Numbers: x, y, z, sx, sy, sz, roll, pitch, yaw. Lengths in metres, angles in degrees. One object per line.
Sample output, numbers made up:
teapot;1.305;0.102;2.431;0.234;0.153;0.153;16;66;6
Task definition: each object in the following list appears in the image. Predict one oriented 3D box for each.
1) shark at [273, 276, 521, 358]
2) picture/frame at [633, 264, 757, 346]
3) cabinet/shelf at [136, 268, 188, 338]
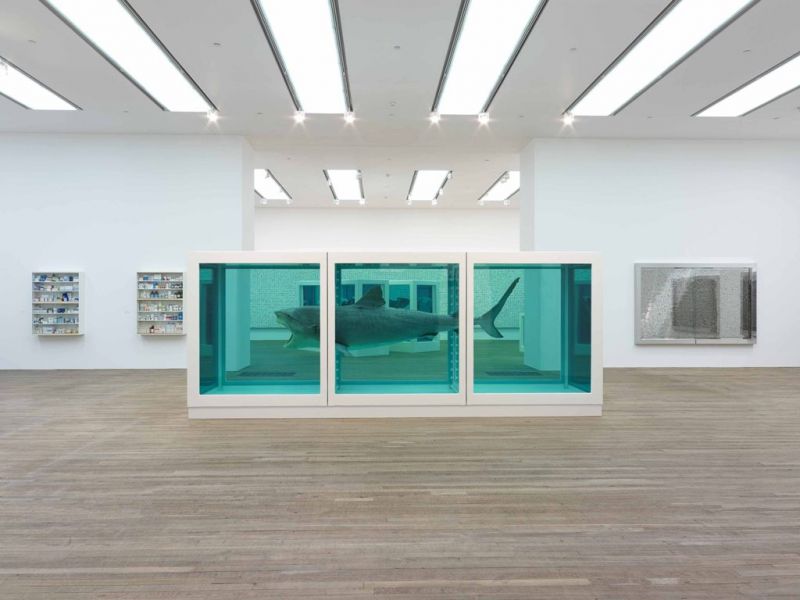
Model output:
shark;0.289;0.249;10.475;5.234;1.223;1.183;0;3;-4
picture/frame;6.565;0.092;14.386;2.696;1.553;0.143;0;0;-2
cabinet/shelf;-5.311;0.080;14.176;1.035;1.448;0.306;0;0;-10
